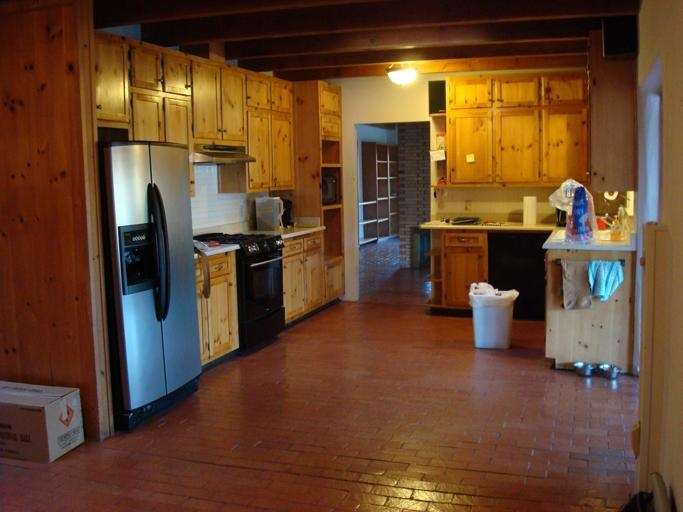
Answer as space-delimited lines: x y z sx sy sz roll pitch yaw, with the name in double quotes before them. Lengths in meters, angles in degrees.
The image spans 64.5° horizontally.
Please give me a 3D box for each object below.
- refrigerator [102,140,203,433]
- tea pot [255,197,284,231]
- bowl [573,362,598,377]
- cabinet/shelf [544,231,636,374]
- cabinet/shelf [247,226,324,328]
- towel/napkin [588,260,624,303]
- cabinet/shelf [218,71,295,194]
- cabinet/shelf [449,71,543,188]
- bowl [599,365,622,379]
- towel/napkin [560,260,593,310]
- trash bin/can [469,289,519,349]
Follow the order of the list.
"refrigerator" -1.572 0.213 4.435 0.244 2.251 0.805 3 9 32
"tea pot" -1.001 -0.551 7.127 0.351 0.425 0.187 1 8 18
"bowl" 2.328 1.079 5.153 0.130 0.135 0.173 -2 -11 17
"cabinet/shelf" 2.300 0.429 5.761 1.074 1.623 1.159 0 4 10
"cabinet/shelf" -0.725 0.262 6.618 0.495 1.121 1.177 -1 7 18
"towel/napkin" 2.472 0.229 5.035 0.377 0.457 0.106 -1 0 2
"cabinet/shelf" -1.077 -1.500 6.595 0.531 1.619 1.697 -1 1 16
"cabinet/shelf" 2.106 -1.717 7.223 1.510 1.833 0.569 0 1 14
"bowl" 2.541 1.079 5.126 0.185 0.125 0.223 3 10 28
"towel/napkin" 2.223 0.271 5.093 0.257 0.447 0.091 -1 8 3
"trash bin/can" 1.686 0.678 6.153 0.593 0.696 0.593 0 2 20
